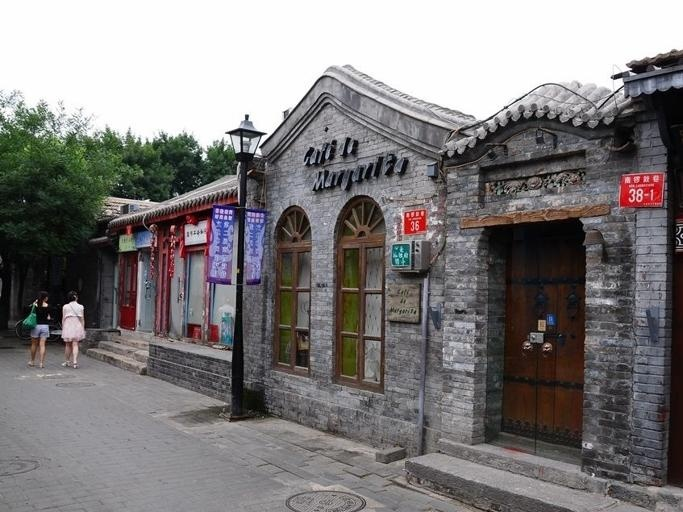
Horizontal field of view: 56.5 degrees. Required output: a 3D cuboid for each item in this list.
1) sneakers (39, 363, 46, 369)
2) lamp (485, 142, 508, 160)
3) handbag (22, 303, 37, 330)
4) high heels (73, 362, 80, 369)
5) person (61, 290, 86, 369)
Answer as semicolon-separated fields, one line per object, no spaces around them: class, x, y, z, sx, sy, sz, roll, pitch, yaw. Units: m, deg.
sneakers;-7.428;2.737;15.828;0.054;0.116;0.161;0;6;-2
lamp;2.195;-1.472;8.994;0.307;0.233;0.103;2;2;21
handbag;-7.750;1.544;15.891;0.278;0.811;1.917;1;2;-26
high heels;-6.675;2.781;16.126;0.128;0.191;0.179;5;-2;-41
person;-6.808;1.872;16.182;0.490;1.967;1.189;1;2;-24
